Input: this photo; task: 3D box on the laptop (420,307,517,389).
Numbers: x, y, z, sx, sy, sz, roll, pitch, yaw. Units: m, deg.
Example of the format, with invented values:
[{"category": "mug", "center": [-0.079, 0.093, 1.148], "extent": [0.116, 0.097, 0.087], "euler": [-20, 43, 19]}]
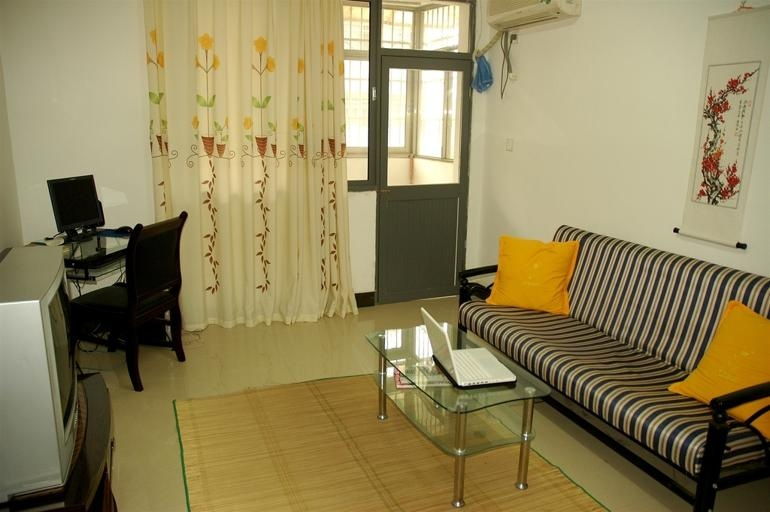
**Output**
[{"category": "laptop", "center": [0.523, 0.554, 3.391], "extent": [0.474, 0.393, 0.511], "euler": [-6, 17, -21]}]

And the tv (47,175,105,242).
[{"category": "tv", "center": [-2.528, -0.383, 4.414], "extent": [0.144, 0.464, 0.452], "euler": [-2, 17, 23]}]

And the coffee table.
[{"category": "coffee table", "center": [0.439, 0.891, 3.450], "extent": [0.905, 0.770, 1.487], "euler": [-7, 18, -26]}]

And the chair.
[{"category": "chair", "center": [-2.001, 0.286, 4.242], "extent": [0.861, 1.222, 0.883], "euler": [-2, 15, -27]}]
